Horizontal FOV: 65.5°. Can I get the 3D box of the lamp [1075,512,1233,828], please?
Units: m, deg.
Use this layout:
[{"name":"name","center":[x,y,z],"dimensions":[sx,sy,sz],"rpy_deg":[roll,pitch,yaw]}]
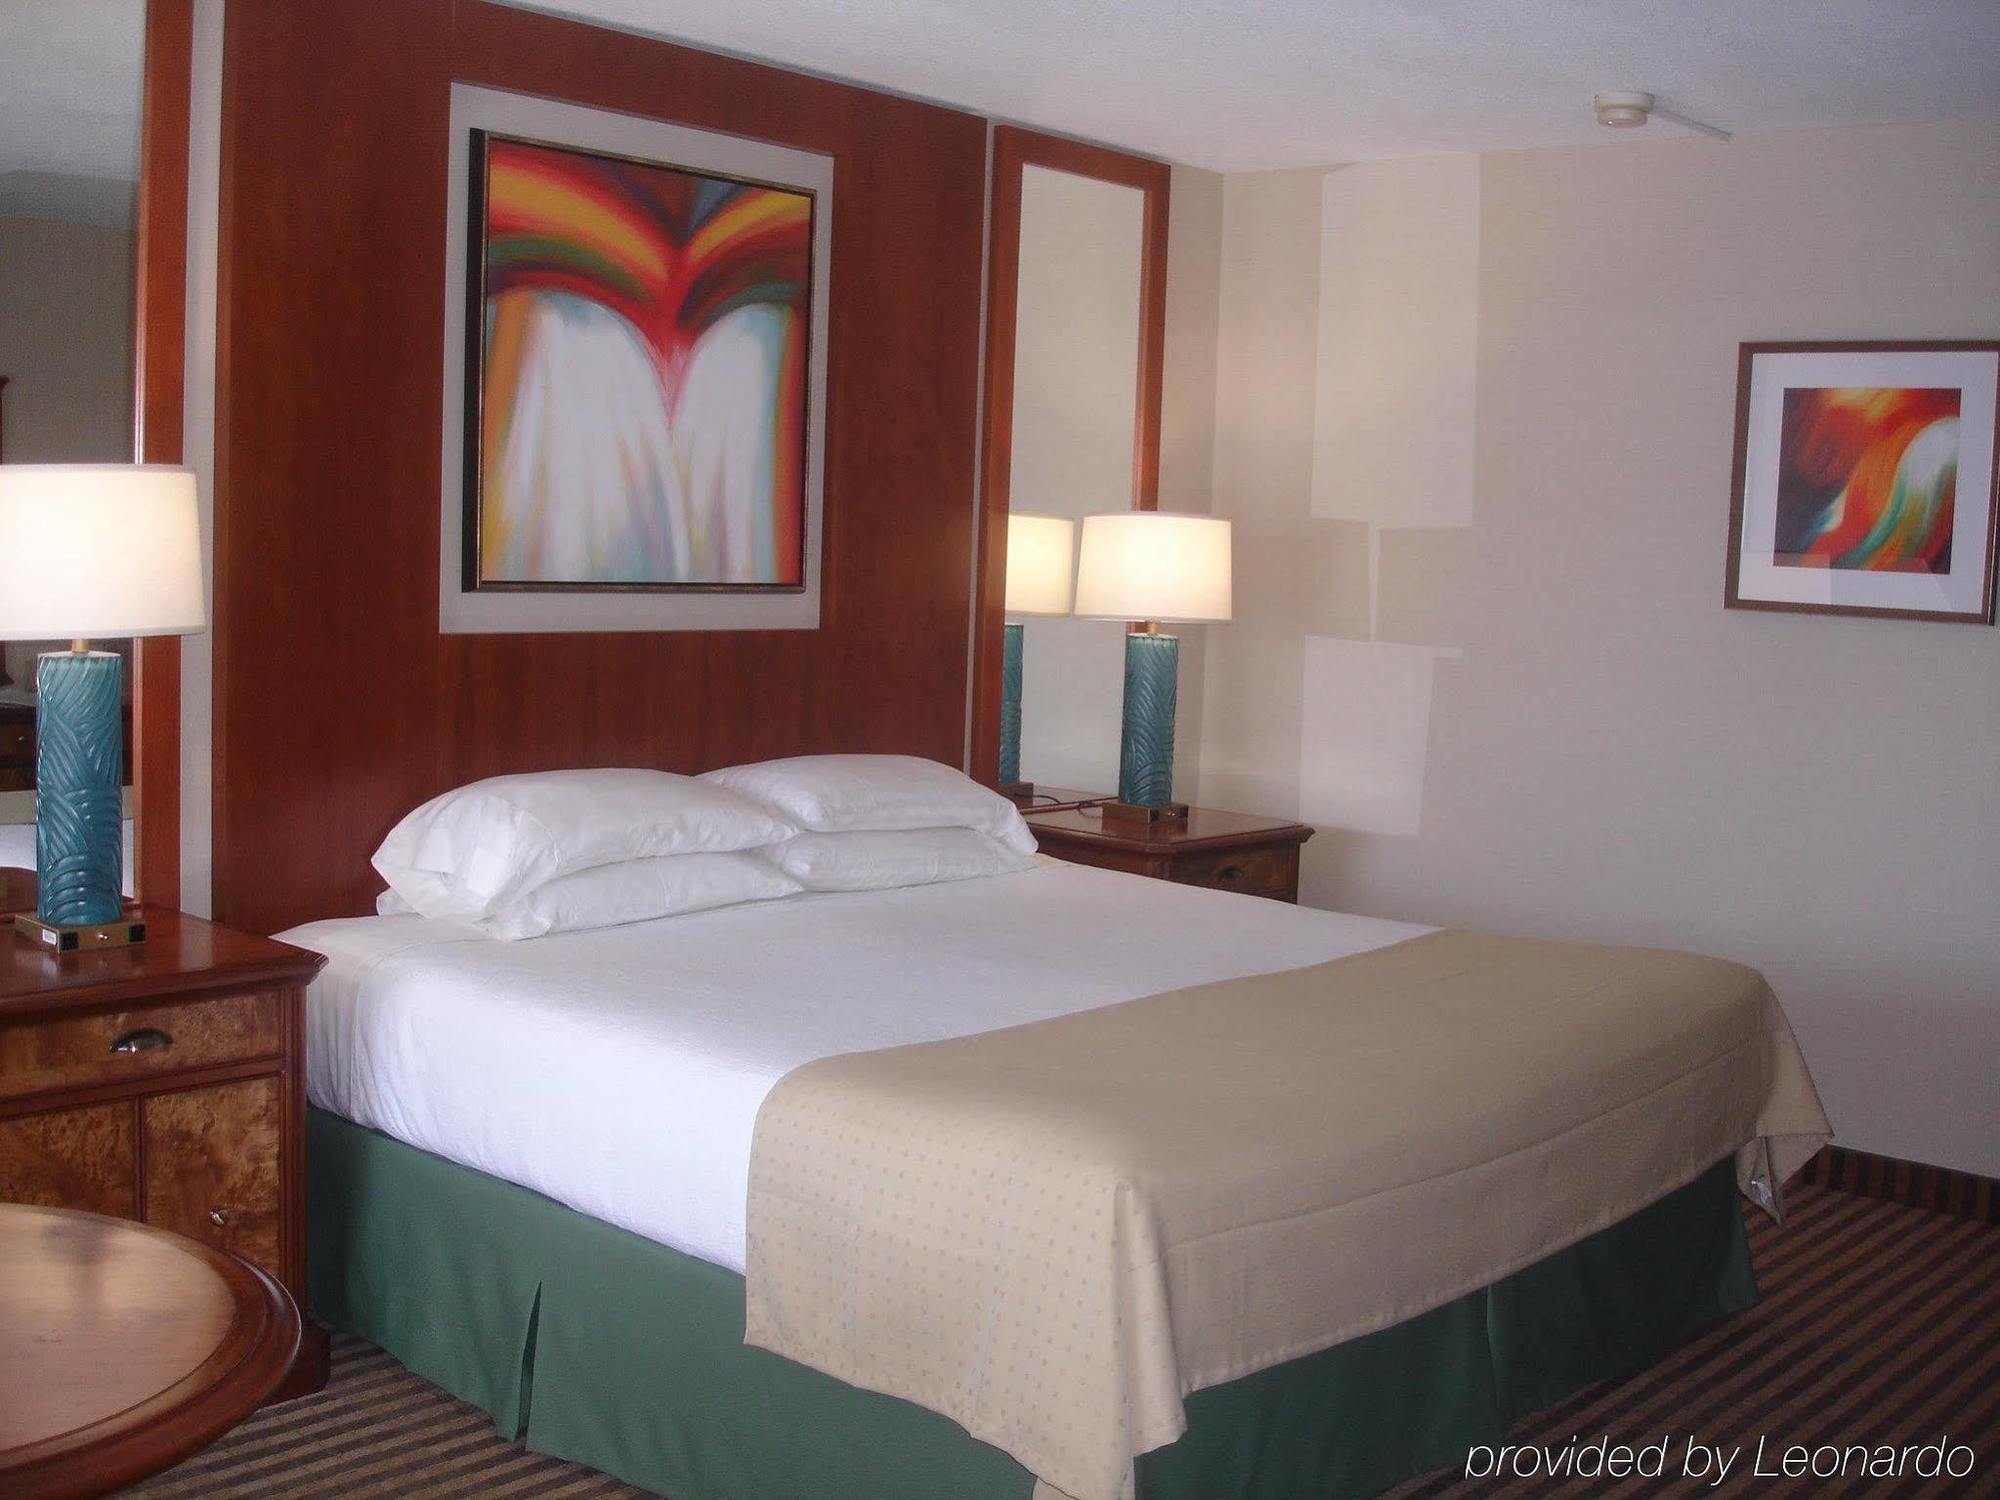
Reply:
[{"name":"lamp","center":[0.487,-0.309,5.241],"dimensions":[0.491,0.955,0.428],"rpy_deg":[1,9,-7]}]
